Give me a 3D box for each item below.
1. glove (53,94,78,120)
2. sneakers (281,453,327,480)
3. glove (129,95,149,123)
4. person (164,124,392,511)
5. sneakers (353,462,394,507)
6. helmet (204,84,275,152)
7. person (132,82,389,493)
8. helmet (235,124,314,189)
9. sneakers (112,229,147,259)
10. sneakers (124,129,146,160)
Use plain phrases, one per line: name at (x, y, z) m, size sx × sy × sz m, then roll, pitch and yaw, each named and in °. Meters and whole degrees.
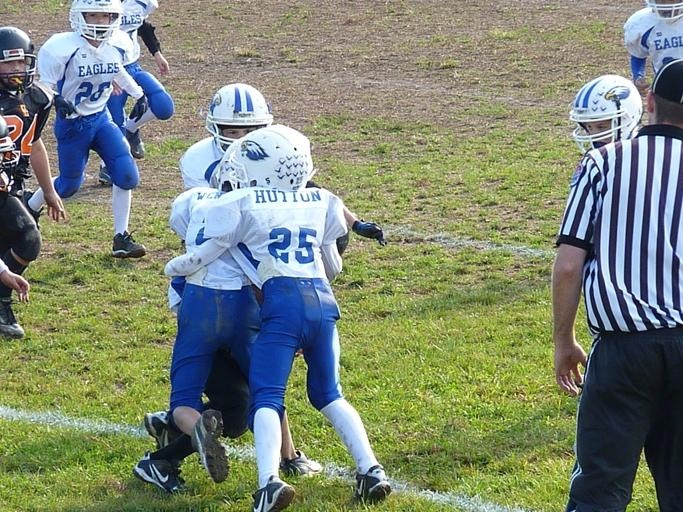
glove at (-2.280, -1.263, 10.073) m, size 0.161 × 0.083 × 0.211 m, roll 31°, pitch -19°, yaw 4°
sneakers at (-0.259, 1.360, 7.817) m, size 0.302 × 0.127 × 0.114 m, roll 4°, pitch 11°, yaw -27°
glove at (-2.008, -1.491, 12.161) m, size 0.134 × 0.249 × 0.145 m, roll -10°, pitch 56°, yaw -41°
person at (-0.321, 0.358, 7.388) m, size 0.992 × 2.226 × 1.146 m, roll -5°, pitch 14°, yaw -36°
sneakers at (0.201, 1.382, 7.316) m, size 0.130 × 0.154 × 0.317 m, roll -17°, pitch -20°, yaw -22°
helmet at (-0.728, -0.998, 8.439) m, size 0.427 × 0.388 × 0.486 m, roll -5°, pitch 26°, yaw -17°
person at (-0.659, 0.211, 7.859) m, size 1.166 × 2.858 × 1.128 m, roll -13°, pitch 45°, yaw -38°
helmet at (-0.448, -0.638, 7.608) m, size 0.376 × 0.361 × 0.465 m, roll -11°, pitch 27°, yaw -25°
sneakers at (-1.860, -0.106, 10.827) m, size 0.409 × 0.200 × 0.152 m, roll -2°, pitch 2°, yaw 42°
sneakers at (-2.227, -1.228, 13.191) m, size 0.112 × 0.312 × 0.141 m, roll -22°, pitch -3°, yaw -43°
